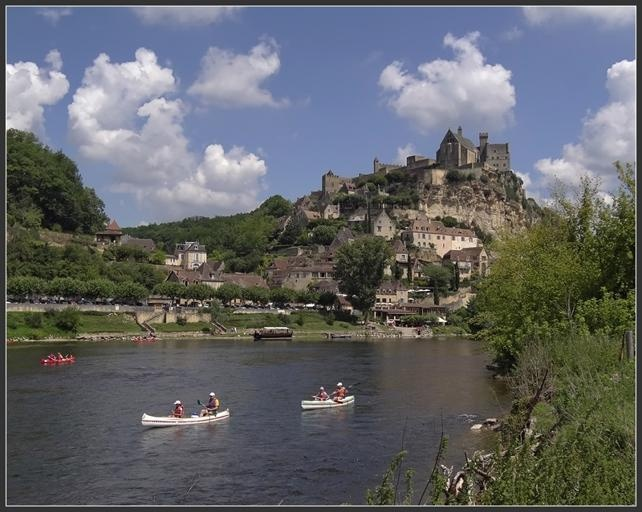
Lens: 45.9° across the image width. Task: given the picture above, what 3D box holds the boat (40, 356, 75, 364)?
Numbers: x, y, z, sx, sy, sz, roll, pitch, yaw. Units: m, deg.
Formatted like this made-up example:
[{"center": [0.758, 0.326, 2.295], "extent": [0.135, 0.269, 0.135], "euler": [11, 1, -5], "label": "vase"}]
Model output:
[{"center": [-24.863, 9.843, 71.088], "extent": [2.404, 0.749, 3.718], "euler": [-4, -7, 35], "label": "boat"}]

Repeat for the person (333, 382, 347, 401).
[{"center": [1.400, 10.105, 56.234], "extent": [0.854, 2.104, 0.768], "euler": [-3, -37, 0], "label": "person"}]

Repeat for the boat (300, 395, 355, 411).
[{"center": [0.552, 10.374, 53.221], "extent": [4.521, 0.917, 1.234], "euler": [1, -4, -37], "label": "boat"}]

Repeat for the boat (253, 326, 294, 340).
[{"center": [-7.110, 11.424, 110.880], "extent": [3.292, 1.927, 7.092], "euler": [-5, -7, 43], "label": "boat"}]

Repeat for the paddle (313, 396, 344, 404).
[{"center": [0.641, 10.190, 53.141], "extent": [1.991, 0.394, 0.727], "euler": [6, -10, -38], "label": "paddle"}]

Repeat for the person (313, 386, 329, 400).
[{"center": [-0.030, 10.281, 56.516], "extent": [0.955, 1.519, 0.543], "euler": [-1, -11, -2], "label": "person"}]

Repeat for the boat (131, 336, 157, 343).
[{"center": [-23.199, 10.892, 98.843], "extent": [3.288, 0.783, 3.838], "euler": [1, -6, -12], "label": "boat"}]
